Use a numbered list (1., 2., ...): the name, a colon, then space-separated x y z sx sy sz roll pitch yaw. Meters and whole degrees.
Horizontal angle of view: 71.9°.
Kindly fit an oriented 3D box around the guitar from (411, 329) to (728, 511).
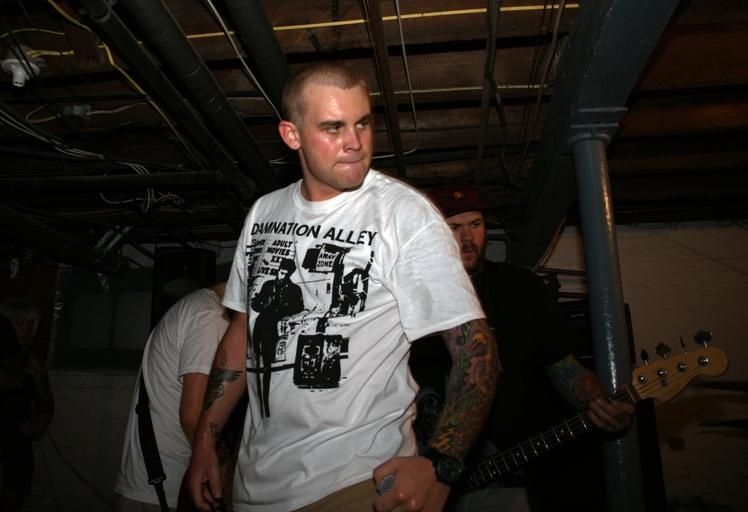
1. guitar: 1.513 1.336 4.025 2.748 1.020 0.389 -34 -62 30
